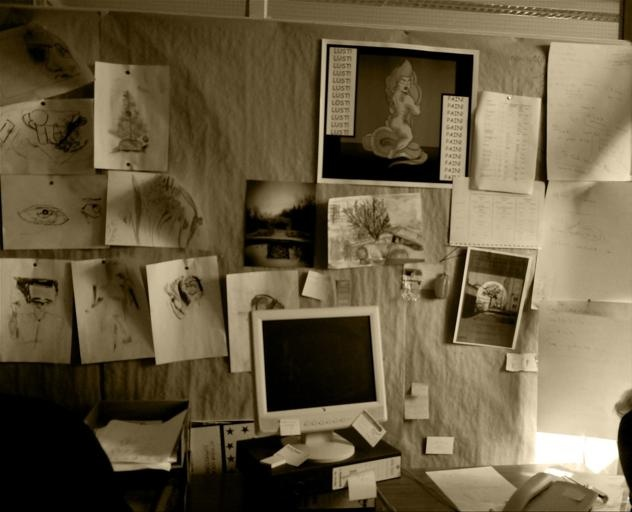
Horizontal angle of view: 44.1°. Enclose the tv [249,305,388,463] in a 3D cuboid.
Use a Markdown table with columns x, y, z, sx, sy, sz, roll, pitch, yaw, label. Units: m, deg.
| x | y | z | sx | sy | sz | roll | pitch | yaw | label |
| --- | --- | --- | --- | --- | --- | --- | --- | --- | --- |
| 0.016 | 0.388 | 2.534 | 0.413 | 0.493 | 0.257 | -4 | 21 | 3 | tv |
